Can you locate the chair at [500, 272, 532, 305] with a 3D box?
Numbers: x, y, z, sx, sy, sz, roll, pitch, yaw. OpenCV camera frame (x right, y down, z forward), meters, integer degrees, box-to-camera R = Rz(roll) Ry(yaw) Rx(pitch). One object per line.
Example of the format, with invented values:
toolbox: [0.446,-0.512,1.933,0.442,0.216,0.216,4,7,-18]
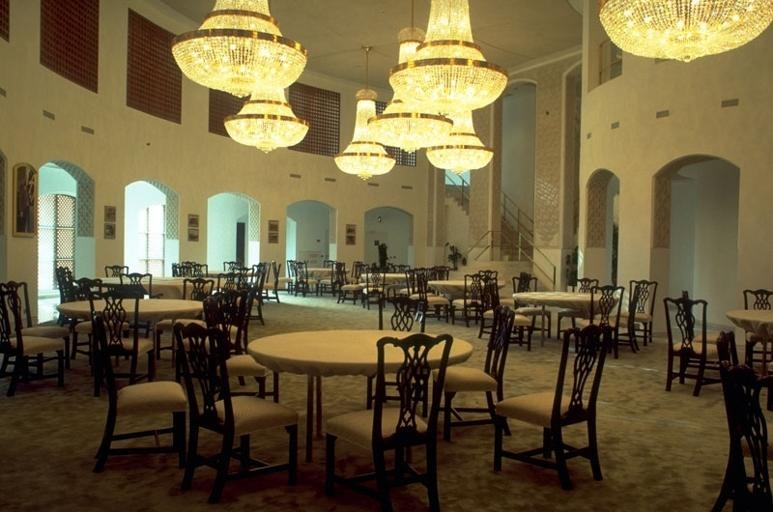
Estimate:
chair: [2.925,0.750,13.423,0.562,0.937,0.630,5,-2,9]

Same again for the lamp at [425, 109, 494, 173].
lamp: [1.213,-1.873,9.931,1.043,1.461,1.039,2,-8,-3]

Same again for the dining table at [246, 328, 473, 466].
dining table: [-0.488,1.132,5.766,1.590,0.775,1.590,2,1,1]

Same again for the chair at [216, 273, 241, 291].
chair: [-2.856,0.465,10.655,0.325,0.561,0.371,2,-1,-13]

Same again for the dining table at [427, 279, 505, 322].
dining table: [1.720,1.020,12.571,1.164,0.564,1.178,-1,3,10]

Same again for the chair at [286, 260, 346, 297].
chair: [-1.978,0.680,18.154,1.367,0.709,1.397,2,3,29]

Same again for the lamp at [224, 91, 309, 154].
lamp: [-2.079,-2.119,9.702,1.070,1.514,1.059,2,4,11]

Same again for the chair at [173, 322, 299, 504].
chair: [-1.565,1.404,5.817,1.030,1.564,1.417,0,-3,-23]
